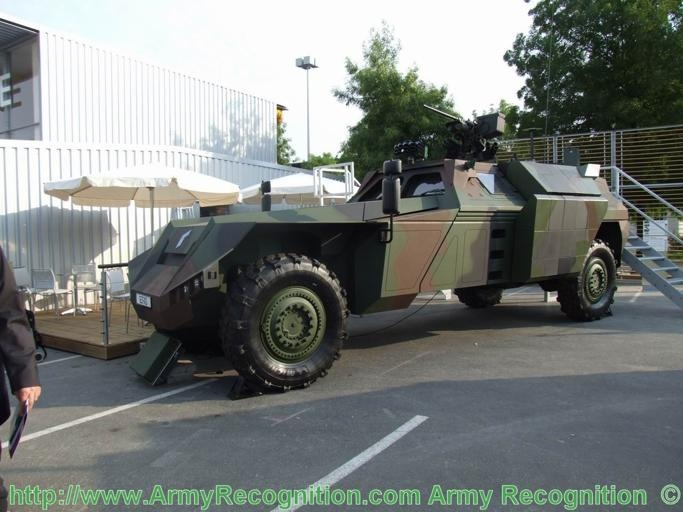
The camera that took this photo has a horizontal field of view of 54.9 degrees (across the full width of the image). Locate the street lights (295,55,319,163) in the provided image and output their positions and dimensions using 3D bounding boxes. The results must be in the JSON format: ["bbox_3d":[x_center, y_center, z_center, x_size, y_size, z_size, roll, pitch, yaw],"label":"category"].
[{"bbox_3d":[-1.817,-7.806,34.942,0.910,5.248,0.809,-7,12,-10],"label":"street lights"}]

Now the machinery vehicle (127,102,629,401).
[{"bbox_3d":[0.514,-0.082,9.267,6.903,3.455,2.902,1,-1,-33],"label":"machinery vehicle"}]
